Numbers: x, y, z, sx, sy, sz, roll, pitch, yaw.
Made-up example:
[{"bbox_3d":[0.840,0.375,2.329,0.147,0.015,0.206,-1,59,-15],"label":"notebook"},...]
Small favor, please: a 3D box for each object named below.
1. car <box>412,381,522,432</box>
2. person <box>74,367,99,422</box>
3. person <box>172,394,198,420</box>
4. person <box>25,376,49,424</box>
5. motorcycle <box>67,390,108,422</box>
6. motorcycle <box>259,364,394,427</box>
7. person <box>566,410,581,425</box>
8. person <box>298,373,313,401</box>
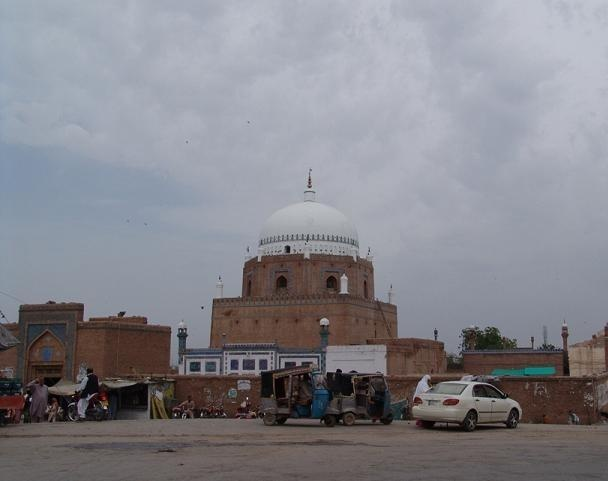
[{"bbox_3d":[3.897,3.776,18.302,2.325,0.875,1.118,4,-8,-38],"label":"car"},{"bbox_3d":[-5.788,4.120,21.079,0.509,1.363,1.144,4,-15,-15],"label":"person"},{"bbox_3d":[-4.409,6.200,29.042,0.840,0.817,1.269,1,-17,-13],"label":"person"},{"bbox_3d":[-7.776,4.676,22.896,0.639,1.295,0.295,7,-17,-35],"label":"person"},{"bbox_3d":[-5.978,4.591,21.702,1.281,0.839,0.762,-9,-19,32],"label":"motorcycle"},{"bbox_3d":[0.522,3.983,19.919,3.215,1.425,1.301,1,-15,-4],"label":"motorcycle"},{"bbox_3d":[8.928,5.936,26.294,0.406,0.739,0.399,4,-6,-21],"label":"person"},{"bbox_3d":[0.000,3.743,19.691,0.393,0.747,0.235,-10,-17,33],"label":"person"}]
